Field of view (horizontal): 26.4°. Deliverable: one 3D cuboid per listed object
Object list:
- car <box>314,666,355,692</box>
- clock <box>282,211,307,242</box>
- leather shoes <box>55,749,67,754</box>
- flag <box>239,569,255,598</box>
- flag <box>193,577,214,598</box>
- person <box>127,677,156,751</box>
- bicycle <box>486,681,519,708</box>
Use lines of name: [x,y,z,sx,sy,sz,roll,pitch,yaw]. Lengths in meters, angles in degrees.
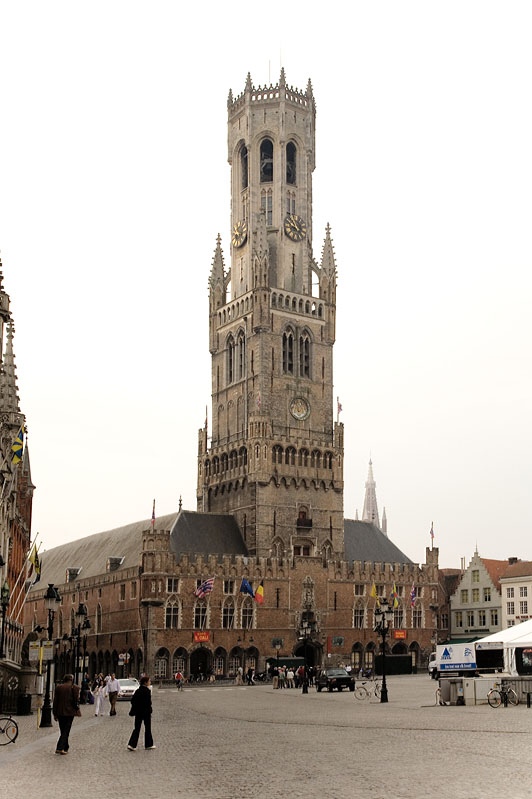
car: [3.810,16.025,64.210,1.596,1.418,3.792,5,-18,-18]
clock: [2.621,-16.125,105.416,0.585,2.493,2.154,-9,20,49]
leather shoes: [-4.032,6.985,22.248,0.231,0.103,0.537,4,-18,-11]
flag: [-1.588,14.719,89.266,0.167,1.615,1.465,-16,-55,19]
flag: [-4.776,14.319,86.203,1.440,1.602,2.974,1,-17,-4]
person: [-2.573,6.482,23.548,0.456,1.674,0.471,1,12,-10]
bicycle: [8.283,10.522,39.760,1.100,0.975,0.669,-7,-5,-9]
